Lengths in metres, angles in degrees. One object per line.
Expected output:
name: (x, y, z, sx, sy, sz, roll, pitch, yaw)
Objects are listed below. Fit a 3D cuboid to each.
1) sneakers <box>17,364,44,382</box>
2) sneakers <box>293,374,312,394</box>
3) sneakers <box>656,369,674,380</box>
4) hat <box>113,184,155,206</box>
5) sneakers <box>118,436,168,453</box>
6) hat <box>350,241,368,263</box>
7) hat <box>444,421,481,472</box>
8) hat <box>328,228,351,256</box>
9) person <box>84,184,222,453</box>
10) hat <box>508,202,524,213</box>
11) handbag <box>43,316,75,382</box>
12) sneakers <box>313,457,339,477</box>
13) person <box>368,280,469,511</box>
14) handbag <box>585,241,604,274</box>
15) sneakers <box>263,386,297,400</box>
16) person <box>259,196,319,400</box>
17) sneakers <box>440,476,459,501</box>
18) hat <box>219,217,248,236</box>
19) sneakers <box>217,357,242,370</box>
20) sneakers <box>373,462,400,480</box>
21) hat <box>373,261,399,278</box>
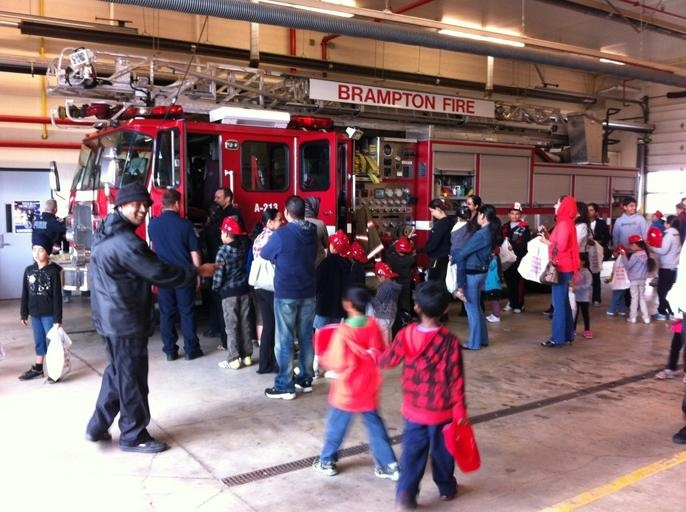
sneakers: (-3.843, 1.416, 6.859, 0.114, 0.143, 0.322, 3, 2, 45)
sneakers: (-0.471, 1.471, 6.485, 0.110, 0.136, 0.302, 0, 11, -20)
sneakers: (4.038, 1.467, 6.963, 0.272, 0.125, 0.110, -2, 8, 12)
hat: (-1.968, -0.557, 5.185, 0.213, 0.137, 0.258, 3, -6, -42)
sneakers: (-1.833, 1.743, 5.159, 0.333, 0.119, 0.165, 0, -1, -6)
hat: (0.179, -0.004, 6.916, 0.205, 0.251, 0.383, 0, 9, 1)
hat: (0.836, 1.348, 4.068, 0.275, 0.376, 0.078, -8, -4, -32)
hat: (-0.037, -0.139, 6.596, 0.241, 0.297, 0.297, 0, 9, -1)
person: (-1.913, 0.570, 5.163, 0.998, 2.411, 0.483, -2, 9, -16)
hat: (3.318, -0.894, 10.764, 0.272, 0.235, 0.457, 5, 20, 10)
handbag: (-3.412, 1.144, 6.735, 0.266, 0.705, 0.290, -3, 9, -23)
sneakers: (-0.149, 1.800, 4.846, 0.092, 0.107, 0.232, -5, 15, -38)
person: (0.592, 1.247, 4.222, 0.613, 1.448, 0.403, 0, 8, 1)
handbag: (4.501, 0.027, 10.089, 0.294, 0.717, 0.583, -4, 3, 31)
sneakers: (-0.705, 1.513, 6.309, 0.343, 0.156, 0.131, 6, 10, 25)
person: (-0.585, 0.480, 6.162, 0.617, 2.214, 0.342, -3, 9, -18)
sneakers: (0.854, 1.848, 4.500, 0.090, 0.114, 0.271, -1, -2, 19)
hat: (-1.369, -0.359, 7.064, 0.210, 0.136, 0.297, 14, 8, 3)
sneakers: (-1.476, 1.381, 7.284, 0.326, 0.140, 0.119, 4, 1, 27)
sneakers: (0.358, 1.792, 4.767, 0.101, 0.121, 0.243, -4, 8, -35)
hat: (0.540, 0.197, 7.017, 0.247, 0.238, 0.364, 1, 9, 6)
